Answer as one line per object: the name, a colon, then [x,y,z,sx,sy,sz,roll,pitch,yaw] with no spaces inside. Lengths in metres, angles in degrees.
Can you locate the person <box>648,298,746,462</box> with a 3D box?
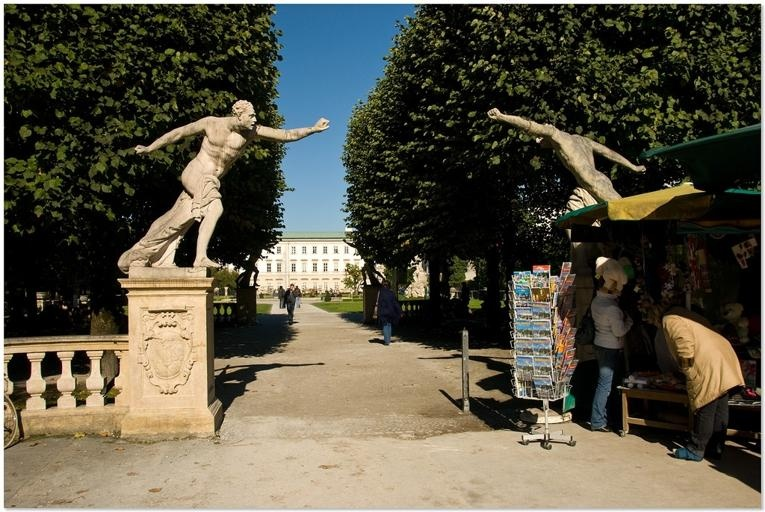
person: [4.604,1.891,9.998,1.051,2.126,0.522,3,7,26]

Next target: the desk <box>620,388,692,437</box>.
desk: [4.259,2.442,10.885,1.243,0.825,0.714,-3,-11,26]

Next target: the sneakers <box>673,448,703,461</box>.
sneakers: [4.411,2.897,9.973,0.310,0.079,0.173,9,-17,1]

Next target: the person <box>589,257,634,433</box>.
person: [3.587,1.429,10.991,0.584,2.747,0.373,2,6,15]
